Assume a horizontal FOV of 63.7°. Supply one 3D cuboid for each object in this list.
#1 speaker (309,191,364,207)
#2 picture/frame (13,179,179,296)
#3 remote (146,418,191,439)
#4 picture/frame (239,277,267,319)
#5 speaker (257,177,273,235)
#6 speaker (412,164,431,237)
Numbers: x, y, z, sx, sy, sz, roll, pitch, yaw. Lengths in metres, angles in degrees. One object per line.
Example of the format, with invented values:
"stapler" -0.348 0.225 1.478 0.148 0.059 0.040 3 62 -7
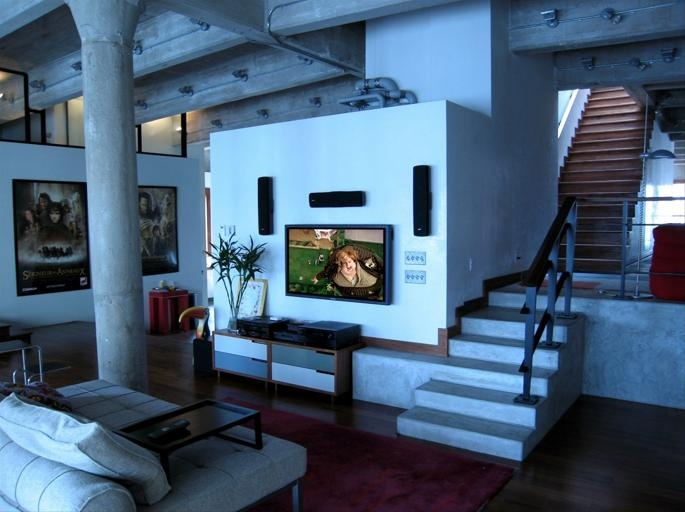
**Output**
"speaker" -0.072 -0.663 6.474 0.710 0.203 0.128 6 13 32
"picture/frame" -3.722 -0.254 7.968 0.051 1.396 2.225 4 6 41
"remote" -1.125 1.115 3.599 0.115 0.041 0.186 5 3 30
"picture/frame" -1.153 0.539 7.136 0.539 0.684 0.052 5 -2 32
"speaker" -0.974 -0.620 6.976 0.204 0.738 0.141 -1 11 -4
"speaker" 0.826 -0.577 5.946 0.249 0.775 0.086 -4 9 -16
